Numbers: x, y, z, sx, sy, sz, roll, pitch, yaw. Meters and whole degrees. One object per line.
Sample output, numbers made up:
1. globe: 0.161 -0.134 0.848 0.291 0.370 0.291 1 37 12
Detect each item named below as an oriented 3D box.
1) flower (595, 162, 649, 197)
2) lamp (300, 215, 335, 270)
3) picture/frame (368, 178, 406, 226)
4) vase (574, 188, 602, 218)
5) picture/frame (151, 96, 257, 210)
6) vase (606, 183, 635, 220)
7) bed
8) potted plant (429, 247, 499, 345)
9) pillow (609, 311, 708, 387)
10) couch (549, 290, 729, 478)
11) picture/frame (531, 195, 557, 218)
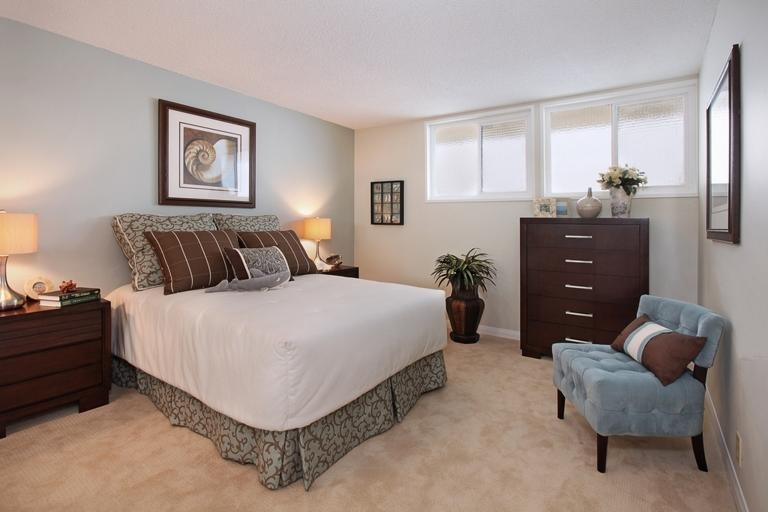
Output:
1. flower: 2.536 -0.879 5.029 0.393 0.228 0.398 -3 20 27
2. lamp: -0.882 -0.198 6.234 0.363 0.607 0.367 2 6 6
3. picture/frame: 0.063 -0.765 6.660 0.688 0.817 0.064 0 -1 37
4. vase: 2.232 -0.556 5.221 0.310 0.425 0.317 0 0 27
5. picture/frame: -1.969 -1.101 5.155 1.055 1.113 0.194 -10 13 -37
6. vase: 2.486 -0.557 4.971 0.285 0.463 0.307 0 4 8
7. bed: -1.047 0.996 3.897 1.822 0.679 1.859 -1 -2 34
8. potted plant: 0.978 0.546 5.785 0.827 1.060 0.755 -2 -4 39
9. pillow: 2.121 0.688 3.743 0.350 0.307 0.738 -9 10 -1
10. couch: 1.999 0.952 3.891 1.072 1.137 1.175 1 5 13
11. picture/frame: 1.847 -0.570 5.413 0.305 0.307 0.041 -2 -2 23
